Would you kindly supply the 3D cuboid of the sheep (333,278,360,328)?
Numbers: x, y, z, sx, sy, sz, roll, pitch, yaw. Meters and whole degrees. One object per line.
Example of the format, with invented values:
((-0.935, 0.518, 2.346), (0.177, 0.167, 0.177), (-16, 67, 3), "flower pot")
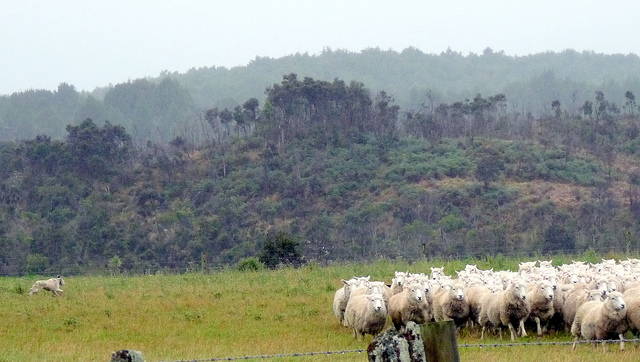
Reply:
((3.358, 15.718, 169.710), (3.003, 6.473, 2.887), (5, -1, -7), "sheep")
